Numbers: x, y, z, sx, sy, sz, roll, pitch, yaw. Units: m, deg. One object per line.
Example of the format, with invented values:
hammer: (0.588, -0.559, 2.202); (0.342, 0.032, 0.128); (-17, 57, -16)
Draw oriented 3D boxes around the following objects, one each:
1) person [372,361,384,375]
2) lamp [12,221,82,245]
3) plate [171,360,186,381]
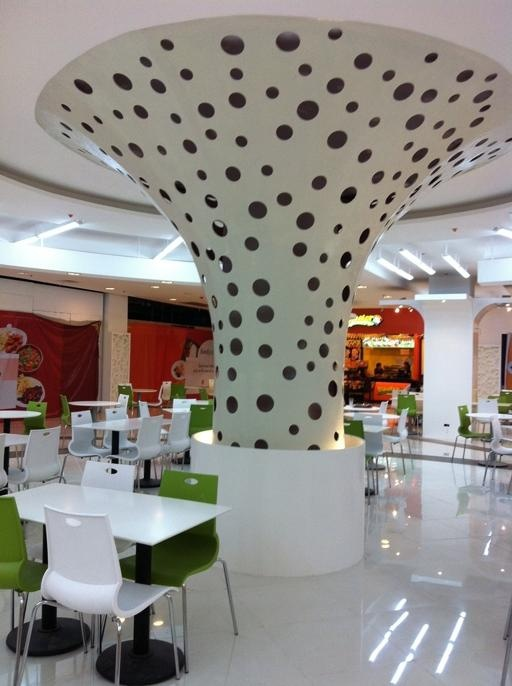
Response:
person: (4.763, 0.988, 19.313); (0.461, 0.720, 0.401); (0, -29, 12)
lamp: (-3.829, -2.010, 8.939); (1.637, 0.185, 0.189); (-11, -6, 42)
plate: (-2.686, 0.926, 17.198); (0.113, 0.682, 0.745); (0, -5, 24)
